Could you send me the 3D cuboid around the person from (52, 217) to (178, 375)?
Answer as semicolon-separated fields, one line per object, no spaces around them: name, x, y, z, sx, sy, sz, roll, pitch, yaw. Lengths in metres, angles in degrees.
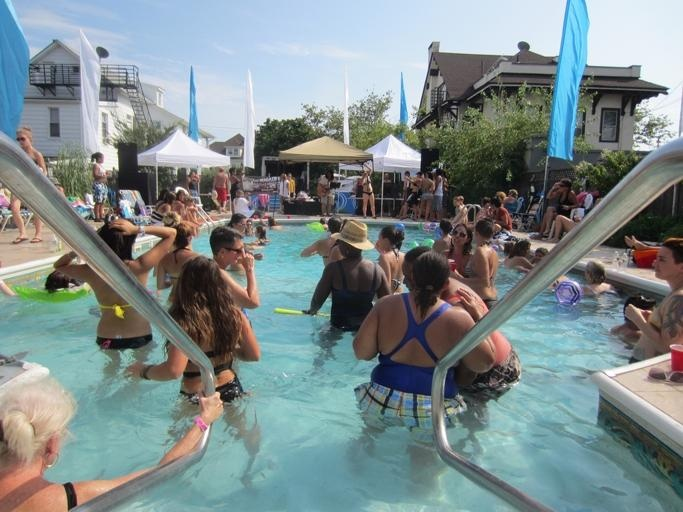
person;-2.315;0.619;4.950;1.100;1.980;0.529;-2;26;-18

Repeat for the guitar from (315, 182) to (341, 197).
guitar;-0.615;-2.943;20.739;0.876;0.416;0.648;0;2;-31

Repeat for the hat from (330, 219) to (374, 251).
hat;0.162;-0.265;5.732;0.394;0.382;0.643;2;13;3

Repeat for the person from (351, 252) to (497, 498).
person;0.628;0.776;3.880;1.013;1.649;0.871;8;12;16

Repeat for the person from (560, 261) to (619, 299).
person;4.069;0.313;8.161;0.974;0.541;0.753;5;19;36

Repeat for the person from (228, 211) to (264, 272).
person;-1.935;-0.102;9.240;0.774;1.445;0.539;-1;-13;-7

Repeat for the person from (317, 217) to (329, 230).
person;-0.636;-1.085;15.943;0.573;0.295;0.786;8;6;2

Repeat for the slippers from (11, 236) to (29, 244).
slippers;-6.827;-0.357;10.115;0.132;0.094;0.266;4;8;24

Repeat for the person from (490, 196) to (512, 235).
person;4.155;-0.993;12.633;0.567;1.102;0.610;-10;-4;14

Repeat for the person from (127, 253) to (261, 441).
person;-1.239;1.043;4.074;1.065;2.133;0.759;-15;35;-33

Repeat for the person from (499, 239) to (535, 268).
person;3.425;-0.089;9.247;0.891;0.617;0.300;-21;25;-36

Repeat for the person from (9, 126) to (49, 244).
person;-6.476;-1.473;9.808;0.890;2.494;0.947;3;16;-36

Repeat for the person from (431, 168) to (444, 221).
person;3.619;-2.294;17.812;0.424;1.861;0.601;3;12;10

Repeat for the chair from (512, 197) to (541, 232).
chair;5.868;-1.271;15.161;1.042;1.195;0.788;-4;5;-38

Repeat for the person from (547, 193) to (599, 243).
person;5.788;-0.975;11.974;1.019;1.253;2.657;8;14;28
